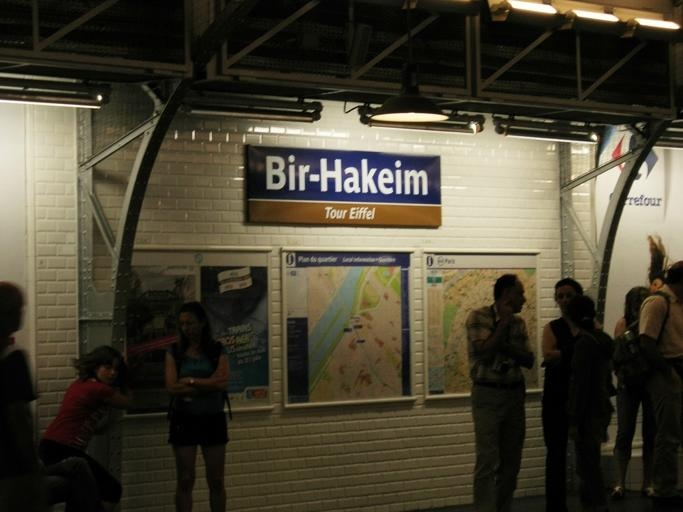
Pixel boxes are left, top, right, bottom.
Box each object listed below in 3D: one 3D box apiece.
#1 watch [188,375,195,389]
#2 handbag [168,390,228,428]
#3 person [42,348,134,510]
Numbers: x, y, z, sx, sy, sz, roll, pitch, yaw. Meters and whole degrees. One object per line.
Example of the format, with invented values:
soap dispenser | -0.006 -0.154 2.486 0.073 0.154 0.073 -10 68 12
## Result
watch | -1.452 1.210 7.476 0.051 0.076 0.093 0 1 -16
handbag | -1.459 1.457 7.522 0.391 0.286 0.375 1 -11 -8
person | -2.364 1.538 7.113 0.775 1.386 0.474 0 1 -18
